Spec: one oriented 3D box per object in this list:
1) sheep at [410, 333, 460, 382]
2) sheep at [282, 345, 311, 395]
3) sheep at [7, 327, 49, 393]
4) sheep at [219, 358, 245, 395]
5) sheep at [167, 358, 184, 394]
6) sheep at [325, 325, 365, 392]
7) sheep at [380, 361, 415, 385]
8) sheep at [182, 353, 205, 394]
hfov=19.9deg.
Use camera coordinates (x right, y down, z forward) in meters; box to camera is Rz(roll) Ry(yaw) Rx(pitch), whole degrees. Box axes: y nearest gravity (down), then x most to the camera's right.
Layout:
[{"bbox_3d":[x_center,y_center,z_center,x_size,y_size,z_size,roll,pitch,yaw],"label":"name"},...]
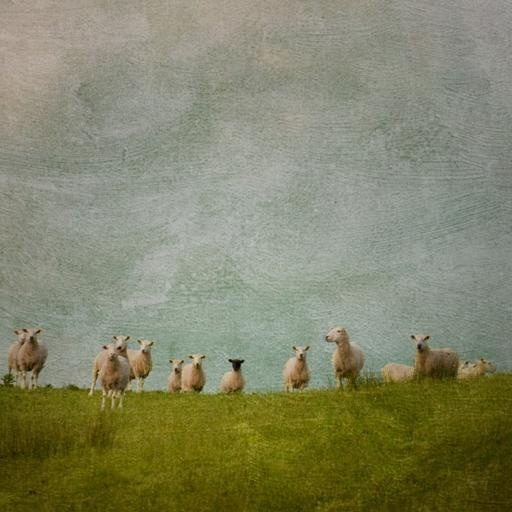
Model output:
[{"bbox_3d":[3.095,1.882,25.205,0.954,1.001,0.356,7,-4,-36],"label":"sheep"},{"bbox_3d":[0.759,1.940,25.337,0.418,0.755,0.751,3,-15,-17],"label":"sheep"},{"bbox_3d":[-3.993,1.786,25.113,0.660,1.067,0.600,-5,-14,19],"label":"sheep"},{"bbox_3d":[-0.420,2.110,25.668,0.577,0.541,0.439,-6,-14,19],"label":"sheep"},{"bbox_3d":[-1.418,2.246,26.207,0.244,0.750,0.797,-1,-8,-5],"label":"sheep"},{"bbox_3d":[1.507,1.754,24.829,0.435,0.982,1.053,-9,-16,32],"label":"sheep"},{"bbox_3d":[2.491,2.056,25.330,0.709,0.508,0.245,-4,-1,15],"label":"sheep"},{"bbox_3d":[-1.087,2.218,26.253,0.301,0.771,1.032,5,5,-1],"label":"sheep"}]
